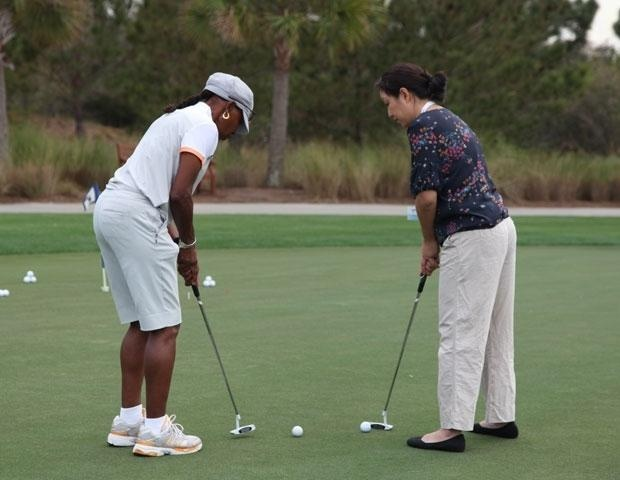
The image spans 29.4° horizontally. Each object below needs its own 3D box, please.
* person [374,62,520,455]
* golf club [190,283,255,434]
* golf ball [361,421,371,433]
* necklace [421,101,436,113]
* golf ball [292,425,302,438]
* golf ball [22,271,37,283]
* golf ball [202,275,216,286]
[{"bbox_3d":[1.414,0.148,11.421,1.266,3.686,0.625,1,5,6],"label":"person"},{"bbox_3d":[-0.901,1.050,11.635,0.138,1.732,0.336,-19,1,-4],"label":"golf club"},{"bbox_3d":[0.545,1.799,11.505,0.094,0.094,0.092,1,40,-1],"label":"golf ball"},{"bbox_3d":[1.141,-1.284,11.379,0.027,0.112,0.103,32,-6,-26],"label":"necklace"},{"bbox_3d":[-0.130,1.821,11.412,0.087,0.091,0.087,1,5,0],"label":"golf ball"},{"bbox_3d":[-3.703,0.471,15.522,0.072,0.130,0.127,11,-7,-43],"label":"golf ball"},{"bbox_3d":[-1.332,0.512,15.359,0.130,0.115,0.134,1,-3,0],"label":"golf ball"}]
